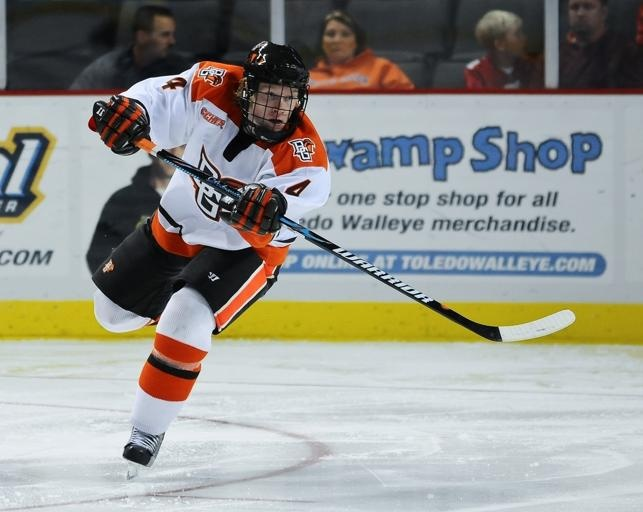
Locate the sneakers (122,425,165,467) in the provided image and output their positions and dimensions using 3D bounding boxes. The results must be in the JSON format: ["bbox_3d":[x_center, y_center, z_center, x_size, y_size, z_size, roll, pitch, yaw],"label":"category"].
[{"bbox_3d":[-0.739,0.805,3.986,0.146,0.169,0.142,1,12,2],"label":"sneakers"}]

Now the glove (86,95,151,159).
[{"bbox_3d":[-0.837,-0.568,4.218,0.322,0.203,0.182,31,5,31],"label":"glove"}]

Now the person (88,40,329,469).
[{"bbox_3d":[-0.482,-0.042,4.178,1.000,1.767,0.721,-1,13,-11],"label":"person"}]

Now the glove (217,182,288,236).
[{"bbox_3d":[-0.277,-0.190,3.928,0.274,0.212,0.121,1,12,-1],"label":"glove"}]

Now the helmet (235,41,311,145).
[{"bbox_3d":[-0.202,-0.694,4.099,0.255,0.412,0.168,4,13,15],"label":"helmet"}]
